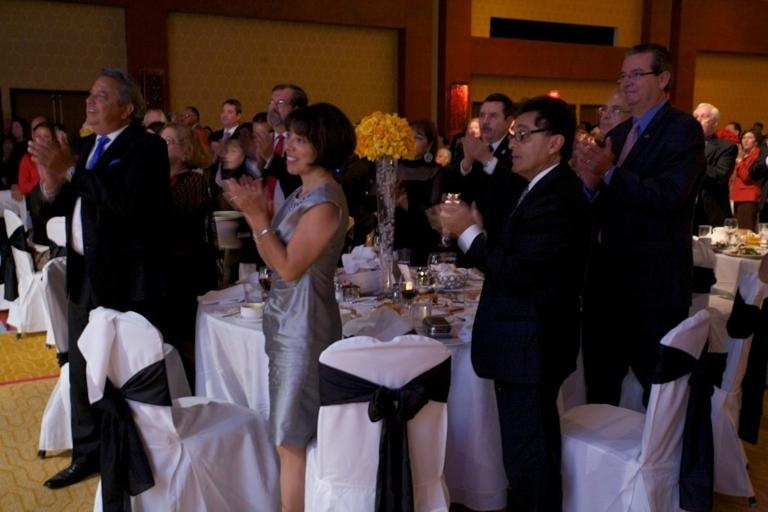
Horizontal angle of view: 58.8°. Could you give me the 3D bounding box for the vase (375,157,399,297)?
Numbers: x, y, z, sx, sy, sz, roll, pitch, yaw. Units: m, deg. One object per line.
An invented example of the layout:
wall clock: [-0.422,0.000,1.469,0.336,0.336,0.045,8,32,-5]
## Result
vase: [0.006,-0.207,4.352,0.147,0.838,0.258,2,8,0]

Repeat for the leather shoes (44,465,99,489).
leather shoes: [-1.872,1.277,4.104,0.306,0.126,0.106,-4,11,-43]

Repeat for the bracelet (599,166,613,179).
bracelet: [1.225,-0.466,3.768,0.052,0.056,0.054,-6,7,-39]

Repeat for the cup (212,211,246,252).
cup: [-1.314,-0.205,5.880,0.332,0.298,0.356,-7,4,1]

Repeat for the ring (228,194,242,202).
ring: [-0.714,-0.274,3.230,0.065,0.034,0.010,9,10,34]

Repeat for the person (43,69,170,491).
person: [-1.642,0.136,4.031,0.721,2.440,0.563,-1,9,-23]

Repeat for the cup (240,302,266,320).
cup: [-0.753,0.307,3.883,0.106,0.051,0.112,1,4,0]

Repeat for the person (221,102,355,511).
person: [-0.453,0.256,3.333,0.508,1.983,0.324,5,8,19]

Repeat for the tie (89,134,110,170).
tie: [-1.642,-0.630,3.971,0.086,0.260,0.030,7,-33,8]

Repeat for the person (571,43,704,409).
person: [1.429,-0.146,3.903,0.666,2.113,0.509,6,9,26]

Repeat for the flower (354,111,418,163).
flower: [-0.001,-0.725,4.352,0.320,0.390,0.366,-1,7,-13]

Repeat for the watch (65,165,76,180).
watch: [-1.689,-0.448,3.663,0.041,0.075,0.025,4,9,-3]

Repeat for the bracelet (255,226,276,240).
bracelet: [-0.563,-0.106,3.188,0.062,0.024,0.056,-41,-6,7]
